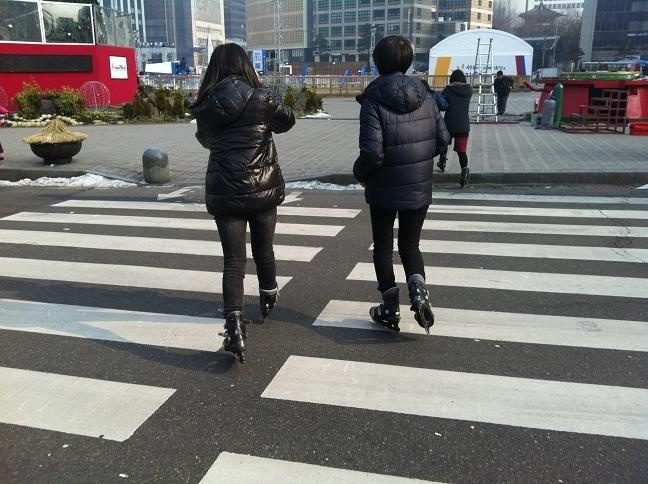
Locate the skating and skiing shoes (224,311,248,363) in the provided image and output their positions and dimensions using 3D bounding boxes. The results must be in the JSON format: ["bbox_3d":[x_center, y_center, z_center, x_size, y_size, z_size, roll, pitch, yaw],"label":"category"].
[{"bbox_3d":[-0.686,0.722,4.000,0.140,0.200,0.428,-3,21,-10],"label":"skating and skiing shoes"}]

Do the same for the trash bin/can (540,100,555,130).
[{"bbox_3d":[8.154,-4.613,19.191,0.488,0.930,0.422,0,19,5],"label":"trash bin/can"}]

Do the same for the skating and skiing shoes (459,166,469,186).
[{"bbox_3d":[2.814,-1.290,10.629,0.152,0.388,0.173,-16,-2,30],"label":"skating and skiing shoes"}]

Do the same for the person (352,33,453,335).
[{"bbox_3d":[0.668,-0.437,4.497,0.819,2.457,0.849,11,23,32],"label":"person"}]

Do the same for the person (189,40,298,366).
[{"bbox_3d":[-0.693,-0.323,4.292,0.645,2.409,1.055,7,21,24],"label":"person"}]

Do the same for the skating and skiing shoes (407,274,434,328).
[{"bbox_3d":[0.784,0.528,4.378,0.157,0.491,0.237,-17,39,6],"label":"skating and skiing shoes"}]
